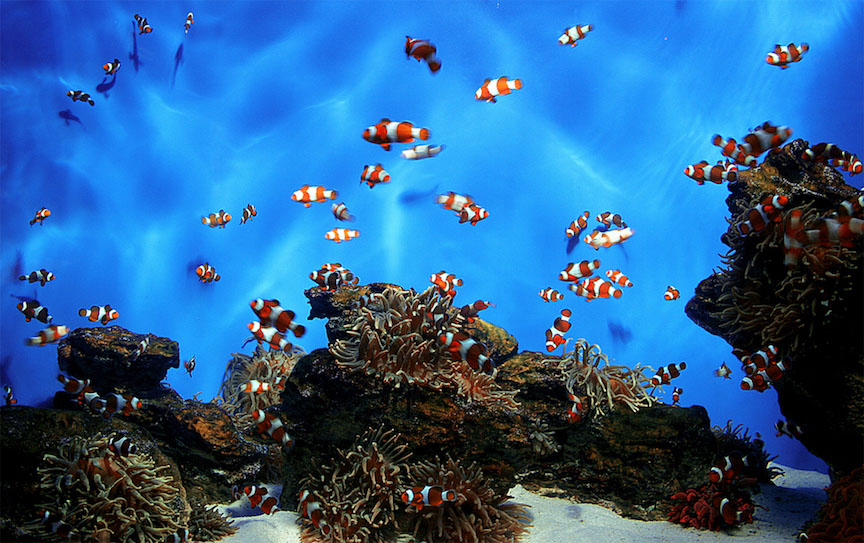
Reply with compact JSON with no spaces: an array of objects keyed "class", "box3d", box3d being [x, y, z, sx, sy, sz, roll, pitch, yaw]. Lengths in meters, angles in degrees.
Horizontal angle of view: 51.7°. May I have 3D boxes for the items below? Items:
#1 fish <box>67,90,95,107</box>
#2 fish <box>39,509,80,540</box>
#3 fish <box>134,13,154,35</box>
[{"class":"fish","box3d":[-5.838,-2.898,14.717,0.424,0.238,0.623,5,-7,-21]},{"class":"fish","box3d":[-4.826,3.262,11.506,0.562,0.268,0.239,47,-14,-13]},{"class":"fish","box3d":[-4.887,-4.160,14.992,0.298,0.273,0.399,4,-7,-18]}]
